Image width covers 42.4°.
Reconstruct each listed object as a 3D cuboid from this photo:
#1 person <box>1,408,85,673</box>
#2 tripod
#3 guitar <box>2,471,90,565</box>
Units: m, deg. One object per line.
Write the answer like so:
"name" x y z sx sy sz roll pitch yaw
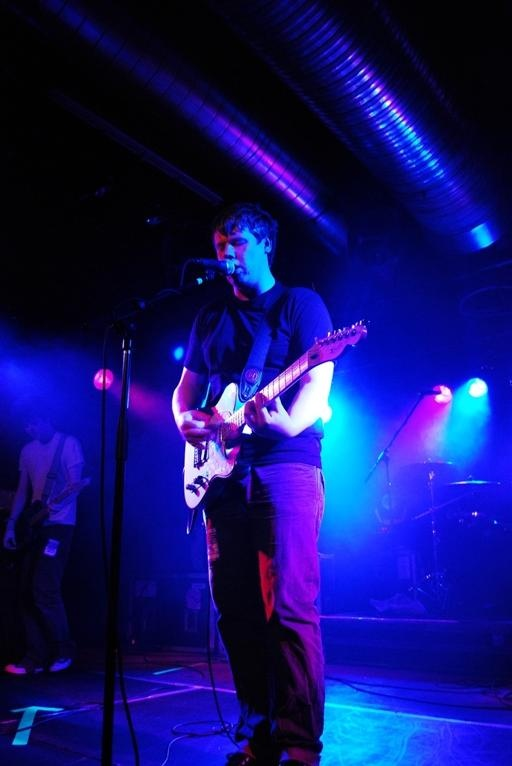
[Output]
"person" -1.710 1.264 5.382 0.577 1.854 0.925 9 -4 -29
"tripod" 1.741 1.772 6.460 0.057 0.802 0.921 6 -1 -10
"guitar" -1.827 1.151 5.624 0.946 0.391 0.124 -38 -40 26
